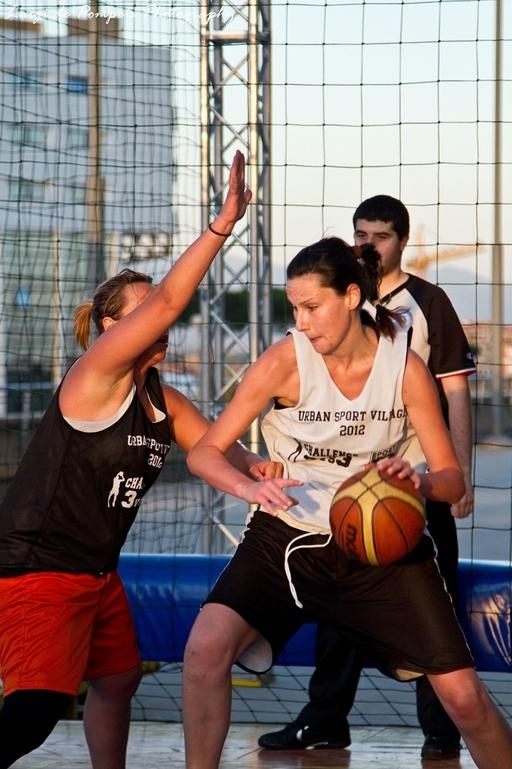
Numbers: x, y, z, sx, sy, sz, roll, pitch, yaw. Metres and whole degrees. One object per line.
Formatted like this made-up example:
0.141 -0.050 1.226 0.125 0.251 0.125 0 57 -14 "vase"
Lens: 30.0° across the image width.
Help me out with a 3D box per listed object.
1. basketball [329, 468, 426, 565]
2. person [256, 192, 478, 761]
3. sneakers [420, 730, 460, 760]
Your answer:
0.316 0.344 2.499 0.245 0.243 0.141 4 4 7 "basketball"
0.343 0.355 3.885 1.006 1.857 0.997 0 1 8 "person"
0.663 1.305 3.443 0.116 0.106 0.078 1 -17 16 "sneakers"
